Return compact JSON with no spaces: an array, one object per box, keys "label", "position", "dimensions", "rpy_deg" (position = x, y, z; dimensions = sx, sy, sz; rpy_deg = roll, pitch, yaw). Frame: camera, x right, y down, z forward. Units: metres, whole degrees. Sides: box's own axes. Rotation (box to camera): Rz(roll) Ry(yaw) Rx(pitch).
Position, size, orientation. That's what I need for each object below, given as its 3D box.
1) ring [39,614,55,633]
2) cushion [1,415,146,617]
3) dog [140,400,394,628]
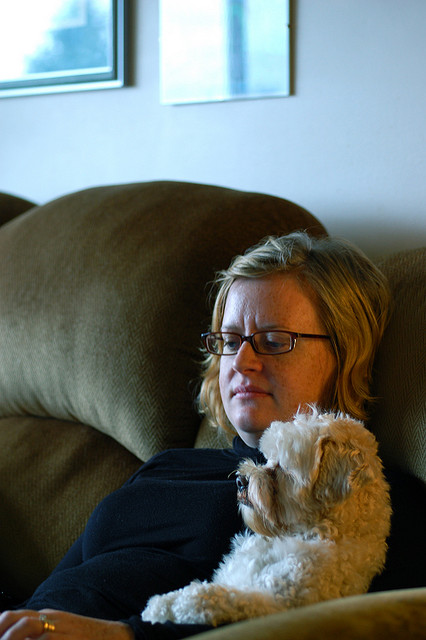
[{"label":"ring","position":[-0.163,0.299,0.594],"dimensions":[0.005,0.013,0.012],"rpy_deg":[-15,-26,-22]},{"label":"cushion","position":[-0.242,0.428,1.326],"dimensions":[0.340,0.331,0.131],"rpy_deg":[7,-19,41]},{"label":"dog","position":[0.055,0.218,0.633],"dimensions":[0.192,0.220,0.229],"rpy_deg":[10,18,39]}]
